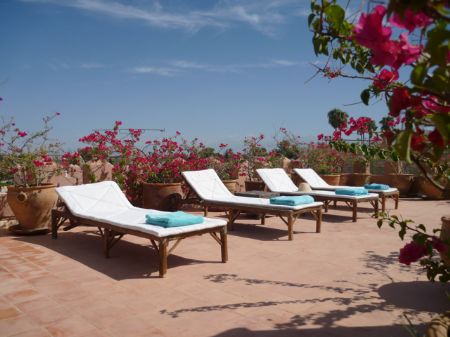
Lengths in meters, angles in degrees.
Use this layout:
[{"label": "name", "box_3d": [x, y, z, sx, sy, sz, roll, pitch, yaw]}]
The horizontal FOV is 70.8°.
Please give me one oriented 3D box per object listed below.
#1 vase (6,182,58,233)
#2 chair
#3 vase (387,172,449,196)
[{"label": "vase", "box_3d": [-3.261, 0.722, 5.624, 0.923, 0.640, 0.881, -12, -13, 34]}, {"label": "chair", "box_3d": [-0.698, 0.667, 5.222, 2.790, 1.005, 2.898, 2, 3, 44]}, {"label": "vase", "box_3d": [4.500, 0.400, 7.528, 1.108, 0.306, 1.004, 1, -4, 8]}]
